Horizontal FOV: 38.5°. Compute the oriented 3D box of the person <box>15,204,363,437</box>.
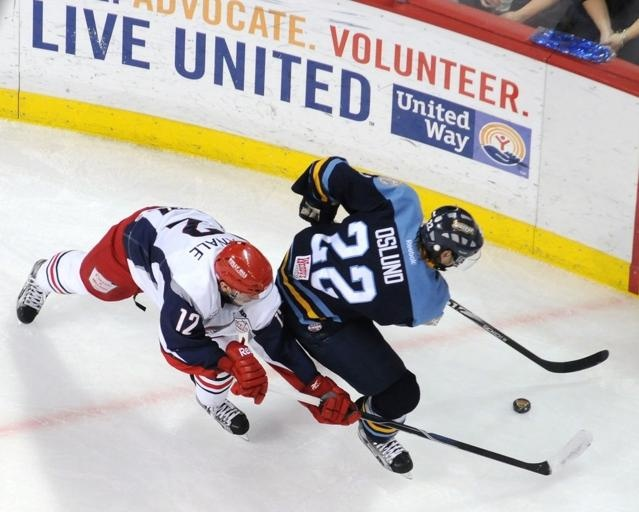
[{"bbox_3d":[-0.797,0.306,4.700,1.971,1.158,0.667,28,37,28],"label":"person"}]

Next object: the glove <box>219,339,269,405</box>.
[{"bbox_3d":[-0.350,0.547,4.348,0.149,0.219,0.283,-31,70,5],"label":"glove"}]

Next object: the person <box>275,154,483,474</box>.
[{"bbox_3d":[0.275,0.278,4.502,0.980,0.919,1.514,-3,70,-12],"label":"person"}]

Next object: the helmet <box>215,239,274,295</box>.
[{"bbox_3d":[-0.338,0.071,4.262,0.267,0.250,0.200,34,73,4],"label":"helmet"}]
